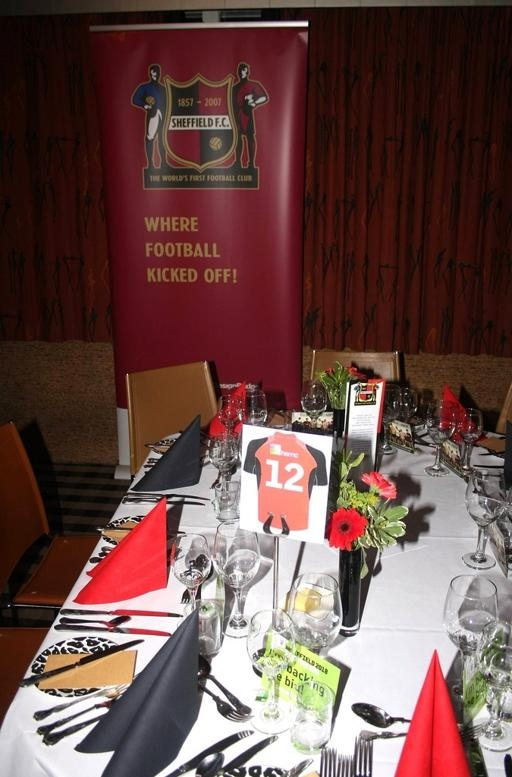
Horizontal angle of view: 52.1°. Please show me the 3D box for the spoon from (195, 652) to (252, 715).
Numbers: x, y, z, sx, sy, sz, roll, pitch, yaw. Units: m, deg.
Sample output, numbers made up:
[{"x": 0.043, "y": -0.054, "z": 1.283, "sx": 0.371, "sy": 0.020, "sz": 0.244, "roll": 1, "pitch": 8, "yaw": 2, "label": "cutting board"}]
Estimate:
[{"x": -0.048, "y": 0.418, "z": 0.736, "sx": 0.032, "sy": 0.033, "sz": 0.116, "roll": 12, "pitch": 3, "yaw": -30, "label": "spoon"}]

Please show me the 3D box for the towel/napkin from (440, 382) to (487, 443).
[{"x": 0.841, "y": 0.079, "z": 2.141, "sx": 0.127, "sy": 0.115, "sz": 0.263, "roll": -7, "pitch": 50, "yaw": -10, "label": "towel/napkin"}]

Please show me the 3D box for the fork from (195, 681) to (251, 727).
[{"x": -0.040, "y": 0.427, "z": 0.711, "sx": 0.024, "sy": 0.018, "sz": 0.104, "roll": -3, "pitch": 1, "yaw": -32, "label": "fork"}]

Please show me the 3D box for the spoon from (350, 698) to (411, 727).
[{"x": 0.162, "y": 0.433, "z": 0.694, "sx": 0.077, "sy": 0.028, "sz": 0.012, "roll": 2, "pitch": -27, "yaw": 13, "label": "spoon"}]

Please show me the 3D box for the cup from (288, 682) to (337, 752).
[{"x": 0.069, "y": 0.416, "z": 0.672, "sx": 0.037, "sy": 0.073, "sz": 0.067, "roll": 2, "pitch": 4, "yaw": 0, "label": "cup"}]

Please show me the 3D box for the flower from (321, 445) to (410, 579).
[{"x": 0.202, "y": 0.241, "z": 0.996, "sx": 0.161, "sy": 0.286, "sz": 0.185, "roll": 1, "pitch": 19, "yaw": 3, "label": "flower"}]

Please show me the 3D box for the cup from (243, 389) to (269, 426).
[{"x": -0.003, "y": 0.062, "z": 1.800, "sx": 0.089, "sy": 0.163, "sz": 0.101, "roll": -2, "pitch": 4, "yaw": 20, "label": "cup"}]

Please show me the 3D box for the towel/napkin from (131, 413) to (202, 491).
[{"x": -0.281, "y": 0.203, "z": 1.526, "sx": 0.217, "sy": 0.285, "sz": 0.120, "roll": 7, "pitch": -10, "yaw": -34, "label": "towel/napkin"}]

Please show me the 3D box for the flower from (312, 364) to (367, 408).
[{"x": 0.235, "y": 0.013, "z": 1.421, "sx": 0.124, "sy": 0.149, "sz": 0.129, "roll": 2, "pitch": -2, "yaw": -27, "label": "flower"}]

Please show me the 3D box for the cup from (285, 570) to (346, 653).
[{"x": 0.087, "y": 0.339, "z": 0.795, "sx": 0.076, "sy": 0.096, "sz": 0.071, "roll": 0, "pitch": 9, "yaw": 0, "label": "cup"}]

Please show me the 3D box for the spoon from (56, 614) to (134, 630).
[{"x": -0.277, "y": 0.404, "z": 0.918, "sx": 0.132, "sy": 0.028, "sz": 0.042, "roll": 3, "pitch": 9, "yaw": -4, "label": "spoon"}]

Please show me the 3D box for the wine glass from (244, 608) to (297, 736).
[{"x": 0.020, "y": 0.394, "z": 0.719, "sx": 0.058, "sy": 0.129, "sz": 0.061, "roll": -15, "pitch": 23, "yaw": -38, "label": "wine glass"}]

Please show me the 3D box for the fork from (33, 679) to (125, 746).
[{"x": -0.226, "y": 0.428, "z": 0.723, "sx": 0.046, "sy": 0.021, "sz": 0.164, "roll": 22, "pitch": 15, "yaw": 30, "label": "fork"}]
